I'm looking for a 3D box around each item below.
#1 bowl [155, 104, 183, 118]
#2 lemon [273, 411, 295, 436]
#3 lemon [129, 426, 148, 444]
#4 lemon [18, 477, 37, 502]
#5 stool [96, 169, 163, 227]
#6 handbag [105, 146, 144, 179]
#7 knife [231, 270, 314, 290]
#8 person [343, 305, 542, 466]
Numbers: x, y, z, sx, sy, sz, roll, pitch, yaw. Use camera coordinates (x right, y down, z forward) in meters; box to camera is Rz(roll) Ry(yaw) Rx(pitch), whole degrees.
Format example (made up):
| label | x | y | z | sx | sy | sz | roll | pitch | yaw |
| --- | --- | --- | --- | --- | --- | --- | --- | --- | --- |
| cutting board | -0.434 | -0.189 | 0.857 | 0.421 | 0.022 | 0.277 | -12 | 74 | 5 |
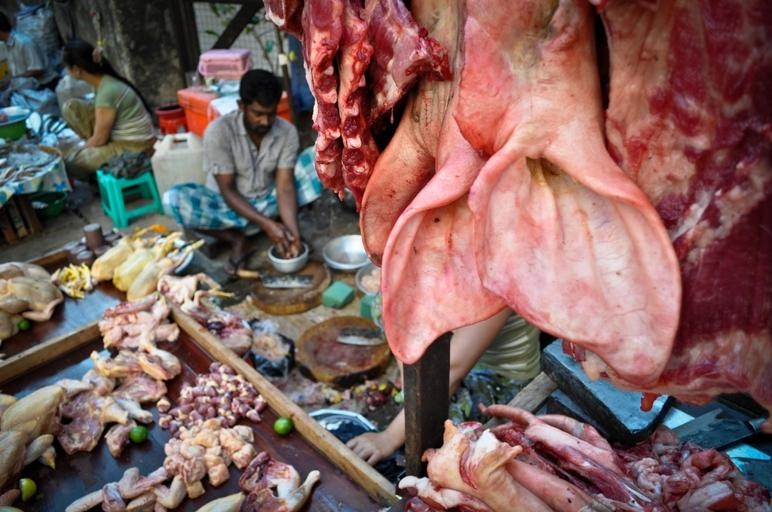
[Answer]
| label | x | y | z | sx | sy | sz | roll | pitch | yaw |
| --- | --- | --- | --- | --- | --- | --- | --- | --- | --- |
| bowl | -2.957 | -1.998 | 8.333 | 0.260 | 0.102 | 0.275 | 0 | 28 | 0 |
| lemon | -0.579 | 0.957 | 3.462 | 0.079 | 0.095 | 0.108 | 5 | 5 | 24 |
| lemon | -1.429 | 1.032 | 3.501 | 0.105 | 0.088 | 0.090 | -16 | 32 | -14 |
| lemon | -1.890 | 1.182 | 3.207 | 0.081 | 0.131 | 0.152 | 1 | 10 | -31 |
| stool | -3.310 | -0.799 | 7.911 | 0.808 | 0.793 | 0.703 | -26 | 34 | -38 |
| handbag | -3.157 | -1.177 | 7.400 | 0.407 | 0.140 | 0.334 | -20 | 52 | -32 |
| knife | -1.119 | 0.234 | 6.062 | 0.806 | 0.099 | 0.288 | 2 | 37 | 5 |
| person | 0.453 | 0.647 | 4.254 | 0.635 | 0.950 | 1.989 | 24 | 30 | 32 |
